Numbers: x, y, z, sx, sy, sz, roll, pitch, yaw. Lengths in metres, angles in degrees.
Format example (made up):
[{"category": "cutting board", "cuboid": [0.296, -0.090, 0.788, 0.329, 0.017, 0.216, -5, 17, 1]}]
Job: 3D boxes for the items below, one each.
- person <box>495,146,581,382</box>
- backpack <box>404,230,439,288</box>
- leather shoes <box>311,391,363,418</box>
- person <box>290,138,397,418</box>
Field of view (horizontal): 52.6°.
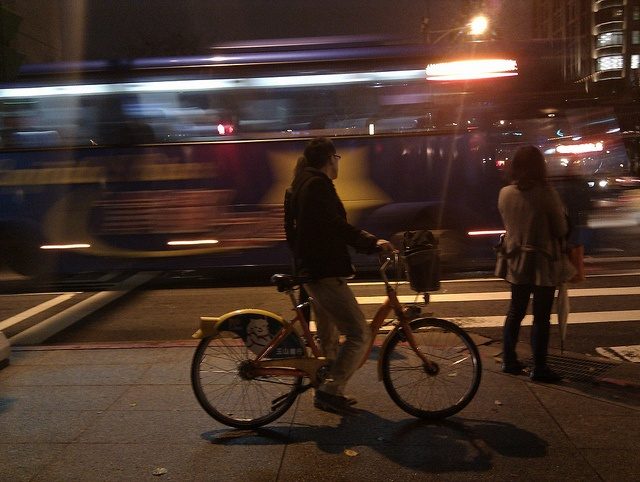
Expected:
[{"category": "person", "cuboid": [2.412, 0.256, 7.329, 0.797, 2.616, 0.820, 0, 16, 12]}, {"category": "backpack", "cuboid": [1.015, 0.215, 6.506, 0.354, 0.618, 0.359, -1, 15, 7]}, {"category": "leather shoes", "cuboid": [0.125, 1.600, 6.444, 0.644, 0.199, 0.185, 14, -6, -8]}, {"category": "person", "cuboid": [0.131, 0.381, 6.501, 0.850, 2.805, 1.017, -4, 15, -3]}]
